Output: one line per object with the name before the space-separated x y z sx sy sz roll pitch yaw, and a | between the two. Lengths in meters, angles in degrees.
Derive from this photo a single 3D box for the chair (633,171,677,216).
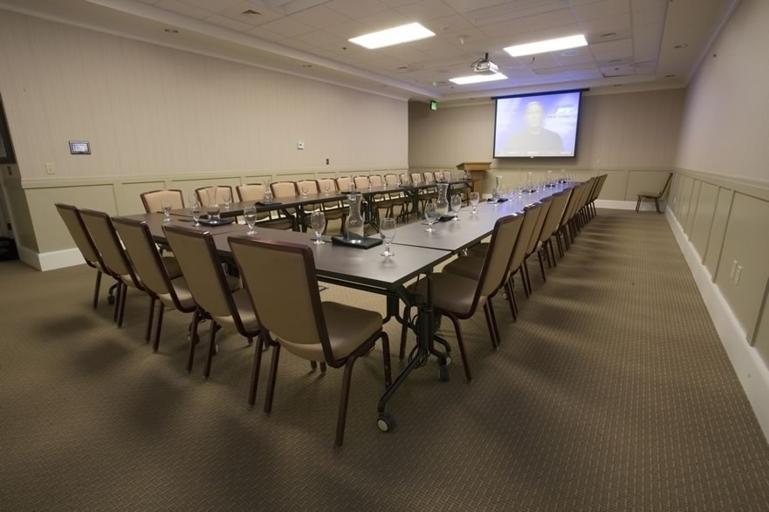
chair | 6.301 -1.477 10.086 0.659 0.942 0.541 7 16 22
